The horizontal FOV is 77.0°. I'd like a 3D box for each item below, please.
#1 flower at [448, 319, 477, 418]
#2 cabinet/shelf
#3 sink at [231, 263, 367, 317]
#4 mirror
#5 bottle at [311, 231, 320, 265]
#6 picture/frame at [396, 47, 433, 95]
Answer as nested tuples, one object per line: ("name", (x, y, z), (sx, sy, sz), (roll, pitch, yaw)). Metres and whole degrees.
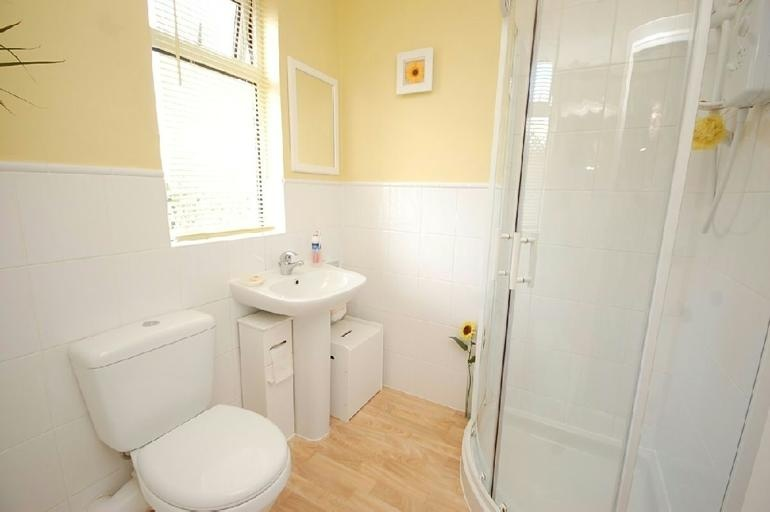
("flower", (0.508, 0.711, 3.093), (0.128, 0.613, 0.215), (-5, 16, -15))
("cabinet/shelf", (-0.277, 0.757, 3.221), (0.396, 0.467, 0.480), (4, 11, 18))
("sink", (-0.472, 0.227, 2.815), (0.518, 0.240, 0.647), (10, 17, 39))
("mirror", (-0.453, -0.872, 3.136), (0.047, 0.659, 0.483), (4, 7, 29))
("bottle", (-0.451, -0.054, 3.151), (0.064, 0.189, 0.113), (-3, 15, -8))
("picture/frame", (0.189, -1.171, 3.019), (0.275, 0.294, 0.021), (8, 16, 28))
